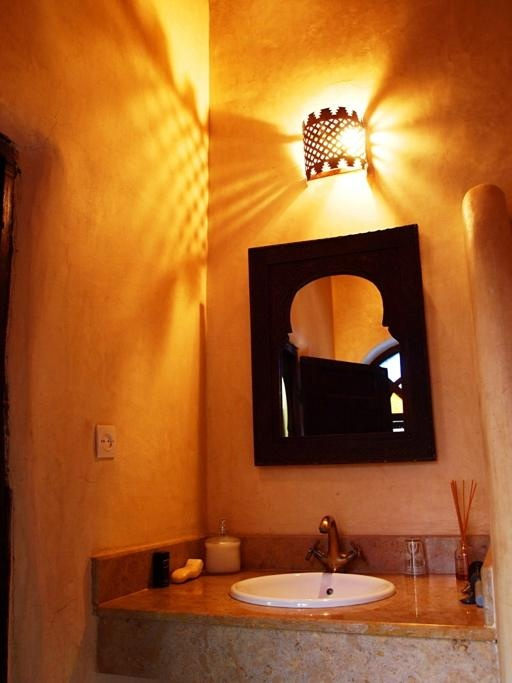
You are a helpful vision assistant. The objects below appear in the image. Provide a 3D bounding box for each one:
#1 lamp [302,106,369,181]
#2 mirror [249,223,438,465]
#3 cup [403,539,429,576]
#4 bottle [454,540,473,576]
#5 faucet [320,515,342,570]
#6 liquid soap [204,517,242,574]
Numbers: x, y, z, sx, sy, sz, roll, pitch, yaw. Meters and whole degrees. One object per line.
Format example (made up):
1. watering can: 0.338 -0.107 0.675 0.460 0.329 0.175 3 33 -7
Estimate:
1. lamp: 0.243 -0.681 1.931 0.180 0.279 0.204 -2 -2 -18
2. mirror: 0.262 0.003 1.873 0.525 0.964 0.075 -5 -38 11
3. cup: 0.426 0.610 1.542 0.072 0.143 0.077 0 -6 0
4. bottle: 0.531 0.590 1.487 0.047 0.093 0.137 -7 -15 19
5. faucet: 0.209 0.587 1.605 0.056 0.157 0.172 -4 -14 5
6. liquid soap: -0.097 0.654 1.721 0.084 0.135 0.102 0 -11 0
